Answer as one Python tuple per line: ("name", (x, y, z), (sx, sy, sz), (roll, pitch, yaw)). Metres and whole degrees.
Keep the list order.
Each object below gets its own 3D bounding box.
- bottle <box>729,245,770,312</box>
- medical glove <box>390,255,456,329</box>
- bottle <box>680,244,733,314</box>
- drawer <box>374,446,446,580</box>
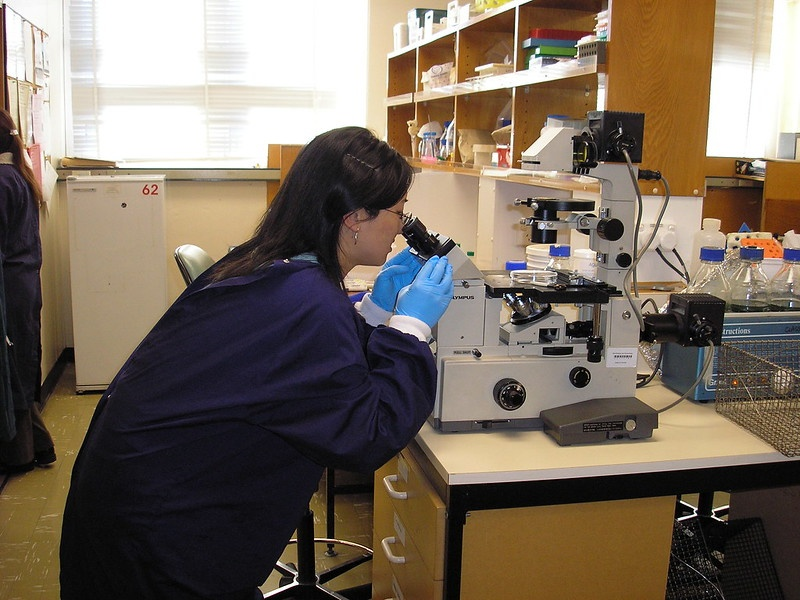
("bottle", (1.210, -0.060, 2.243), (0.130, 0.234, 0.133), (1, 12, 0))
("medical glove", (0.070, -0.036, 1.796), (0.067, 0.190, 0.134), (39, -32, -26))
("bottle", (1.083, -0.032, 2.271), (0.175, 0.291, 0.181), (1, 8, 0))
("drawer", (0.051, 0.609, 1.871), (0.231, 0.245, 0.359), (-1, 5, -11))
